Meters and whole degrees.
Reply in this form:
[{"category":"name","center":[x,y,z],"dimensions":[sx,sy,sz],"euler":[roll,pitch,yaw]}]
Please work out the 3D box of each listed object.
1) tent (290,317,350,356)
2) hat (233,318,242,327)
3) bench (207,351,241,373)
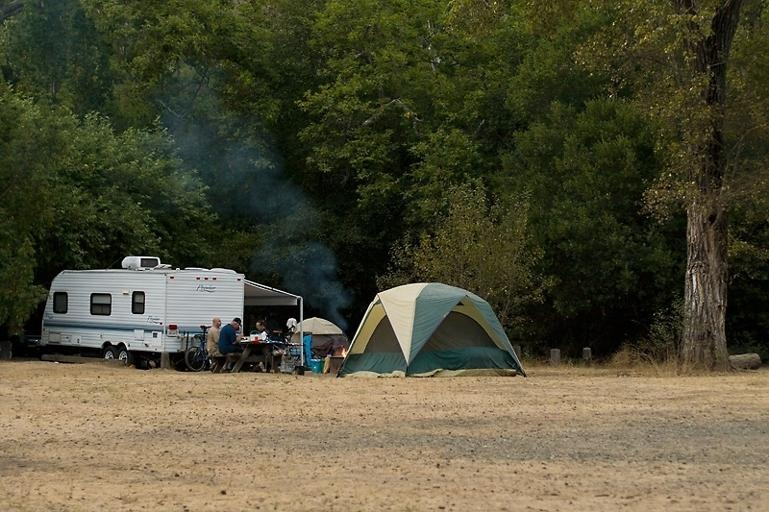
[{"category":"tent","center":[-2.668,3.091,52.380],"dimensions":[2.554,1.729,1.457],"euler":[10,-6,46]},{"category":"hat","center":[-5.175,2.359,47.188],"dimensions":[0.219,0.283,0.274],"euler":[0,4,7]},{"category":"bench","center":[-5.554,3.725,46.643],"dimensions":[0.675,0.547,1.087],"euler":[10,-12,-40]}]
